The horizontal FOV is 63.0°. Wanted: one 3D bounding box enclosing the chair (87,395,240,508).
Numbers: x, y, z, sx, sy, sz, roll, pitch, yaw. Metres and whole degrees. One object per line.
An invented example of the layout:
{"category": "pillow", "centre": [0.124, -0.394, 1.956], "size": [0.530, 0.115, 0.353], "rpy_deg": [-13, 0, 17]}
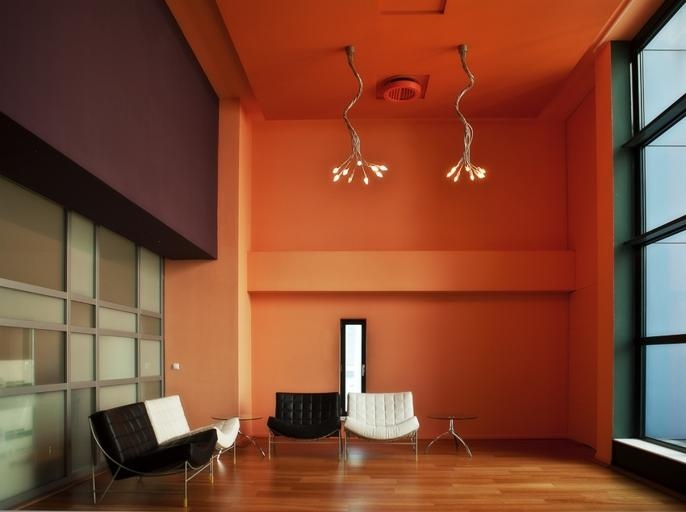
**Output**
{"category": "chair", "centre": [-2.122, 2.170, 6.771], "size": [1.159, 0.763, 1.383], "rpy_deg": [-1, -6, 9]}

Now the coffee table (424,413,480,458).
{"category": "coffee table", "centre": [1.739, 2.851, 9.074], "size": [0.732, 0.582, 0.841], "rpy_deg": [2, -9, 1]}

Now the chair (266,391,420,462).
{"category": "chair", "centre": [0.092, 2.569, 8.554], "size": [2.020, 0.904, 1.257], "rpy_deg": [0, -5, 3]}
